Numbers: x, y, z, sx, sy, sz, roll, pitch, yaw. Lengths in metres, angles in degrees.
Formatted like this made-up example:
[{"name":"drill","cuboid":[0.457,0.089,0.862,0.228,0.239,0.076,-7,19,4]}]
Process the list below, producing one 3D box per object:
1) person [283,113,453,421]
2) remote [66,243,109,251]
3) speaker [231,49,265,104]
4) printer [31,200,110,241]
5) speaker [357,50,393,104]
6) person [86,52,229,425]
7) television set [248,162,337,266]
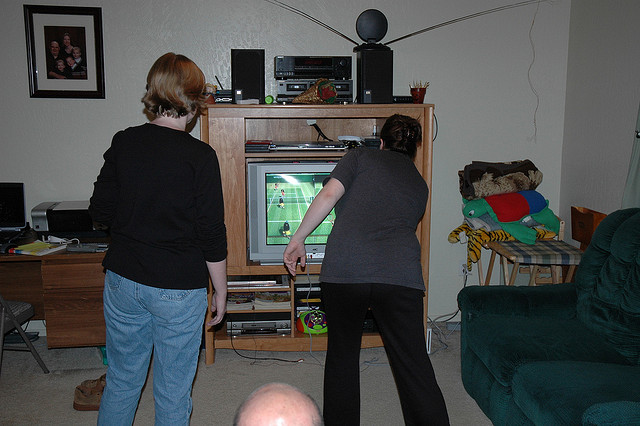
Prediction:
[{"name":"person","cuboid":[0.320,0.368,3.213,0.898,1.823,0.554,-1,13,-3]},{"name":"remote","cuboid":[-1.830,0.269,4.108,0.227,0.036,0.124,1,4,-6]},{"name":"speaker","cuboid":[-0.570,-1.166,4.341,0.347,0.448,0.318,-8,46,-11]},{"name":"printer","cuboid":[-2.109,0.067,4.468,0.617,0.283,0.264,-1,13,-6]},{"name":"speaker","cuboid":[0.477,-1.138,4.356,0.289,0.387,0.223,1,12,5]},{"name":"person","cuboid":[-0.901,0.373,2.905,0.761,1.706,0.358,-2,14,-9]},{"name":"television set","cuboid":[-0.284,0.043,4.720,0.563,0.877,0.988,-2,-6,2]}]
